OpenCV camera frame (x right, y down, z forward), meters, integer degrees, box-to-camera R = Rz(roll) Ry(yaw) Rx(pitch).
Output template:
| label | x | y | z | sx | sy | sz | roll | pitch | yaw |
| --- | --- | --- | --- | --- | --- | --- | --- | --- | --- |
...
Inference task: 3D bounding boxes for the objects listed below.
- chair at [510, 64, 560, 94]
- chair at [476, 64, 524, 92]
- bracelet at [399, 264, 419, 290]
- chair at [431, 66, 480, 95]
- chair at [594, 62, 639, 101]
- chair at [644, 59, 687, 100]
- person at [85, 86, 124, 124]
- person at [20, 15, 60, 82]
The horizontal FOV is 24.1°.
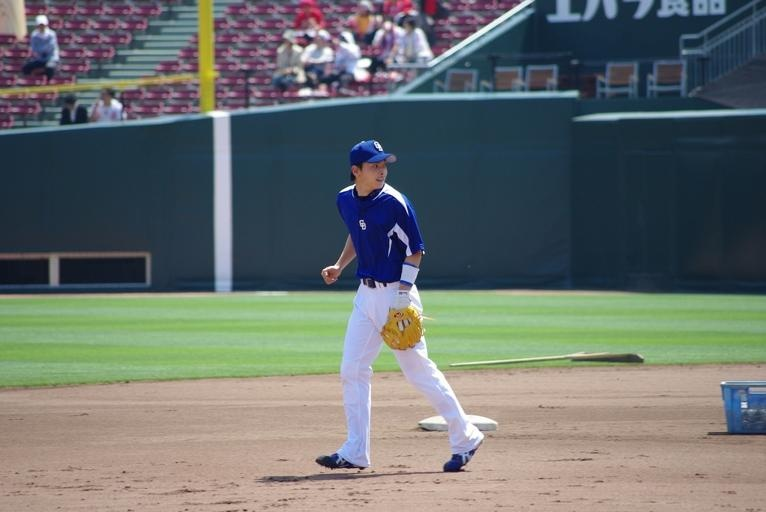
| label | x | y | z | sx | sy | sz | roll | pitch | yaw |
| --- | --- | --- | --- | --- | --- | --- | --- | --- | --- |
| chair | 2.892 | -3.427 | 34.364 | 0.629 | 0.688 | 0.555 | 2 | 32 | 1 |
| chair | 2.235 | -3.356 | 34.229 | 0.823 | 0.451 | 0.412 | -1 | 1 | -2 |
| bracelet | 0.375 | 0.287 | 24.806 | 0.359 | 0.275 | 0.290 | 13 | 2 | 11 |
| chair | 1.366 | -3.317 | 34.475 | 0.682 | 0.747 | 0.554 | 4 | 30 | 4 |
| chair | 4.511 | -3.334 | 34.357 | 0.812 | 0.817 | 0.741 | 1 | 2 | 23 |
| chair | 5.448 | -3.405 | 34.664 | 0.835 | 0.846 | 0.752 | 1 | 0 | 15 |
| person | -5.386 | -2.873 | 34.410 | 0.687 | 0.625 | 0.175 | -1 | 1 | -9 |
| person | -6.988 | -4.173 | 36.075 | 0.743 | 1.360 | 0.874 | -1 | 1 | -10 |
